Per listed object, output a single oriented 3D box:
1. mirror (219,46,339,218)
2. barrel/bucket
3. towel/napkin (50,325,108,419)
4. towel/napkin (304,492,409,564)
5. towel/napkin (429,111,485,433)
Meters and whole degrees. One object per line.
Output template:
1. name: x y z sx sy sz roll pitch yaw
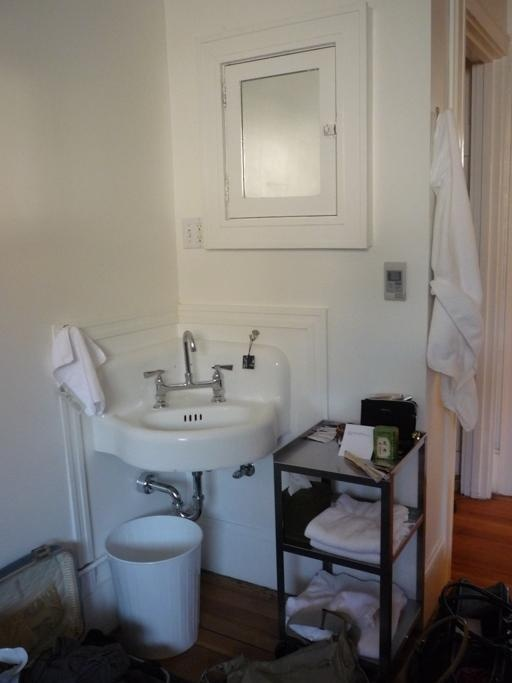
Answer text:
1. mirror: 0.083 -0.675 1.801 0.513 0.657 0.024 4 10 31
2. barrel/bucket: -0.272 0.728 1.830 0.325 0.383 0.348 0 7 0
3. towel/napkin: -0.513 0.089 1.646 0.075 0.253 0.208 3 18 23
4. towel/napkin: 0.271 0.472 1.600 0.222 0.136 0.297 3 11 28
5. towel/napkin: 0.586 -0.181 1.709 0.144 0.951 0.225 1 10 21
